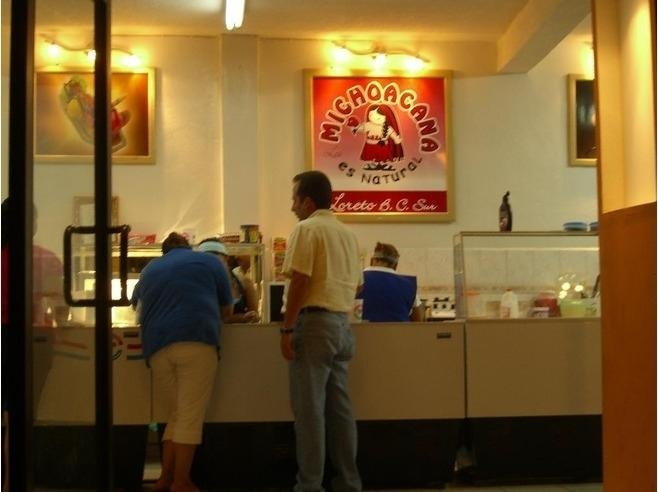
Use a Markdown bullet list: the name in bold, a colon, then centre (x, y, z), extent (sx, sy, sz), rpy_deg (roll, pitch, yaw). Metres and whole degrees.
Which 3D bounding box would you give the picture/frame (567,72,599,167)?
- **picture/frame**: centre (2.645, -1.307, 7.124), extent (0.301, 0.971, 0.156), rpy_deg (2, -1, 13)

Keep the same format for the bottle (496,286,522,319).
- **bottle**: centre (1.180, 0.364, 4.513), extent (0.158, 0.292, 0.155), rpy_deg (0, -7, 0)

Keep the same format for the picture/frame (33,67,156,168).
- **picture/frame**: centre (-1.111, -0.621, 3.198), extent (0.550, 0.441, 0.016), rpy_deg (0, 0, -5)

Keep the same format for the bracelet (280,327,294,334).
- **bracelet**: centre (-0.240, 0.476, 3.882), extent (0.060, 0.032, 0.031), rpy_deg (2, 0, 12)

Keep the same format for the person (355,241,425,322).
- **person**: centre (0.410, 0.422, 4.777), extent (0.430, 0.883, 0.465), rpy_deg (-3, -9, 8)

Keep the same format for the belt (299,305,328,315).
- **belt**: centre (-0.086, 0.363, 3.903), extent (0.161, 0.040, 0.032), rpy_deg (2, 0, 5)

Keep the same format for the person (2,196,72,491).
- **person**: centre (-1.249, 0.399, 2.880), extent (0.111, 1.245, 0.305), rpy_deg (2, -1, 22)
